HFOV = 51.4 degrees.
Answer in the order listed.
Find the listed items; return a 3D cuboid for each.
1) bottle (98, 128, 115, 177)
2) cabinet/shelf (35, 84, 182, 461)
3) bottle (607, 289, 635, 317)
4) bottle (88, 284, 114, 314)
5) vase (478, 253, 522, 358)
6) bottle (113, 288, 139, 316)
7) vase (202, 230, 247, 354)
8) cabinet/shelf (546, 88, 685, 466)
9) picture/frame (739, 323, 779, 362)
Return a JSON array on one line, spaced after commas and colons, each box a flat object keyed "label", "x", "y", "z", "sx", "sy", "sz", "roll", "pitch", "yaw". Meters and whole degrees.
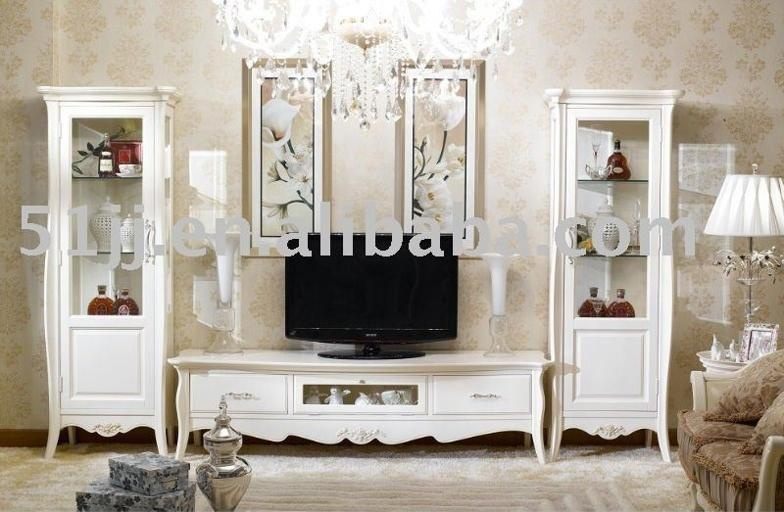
[{"label": "bottle", "x": -2.255, "y": -0.766, "z": 6.408, "sx": 0.137, "sy": 0.400, "sz": 0.133, "roll": -6, "pitch": -18, "yaw": -2}, {"label": "cabinet/shelf", "x": -2.180, "y": 0.118, "z": 6.299, "sx": 1.035, "sy": 2.764, "sz": 0.807, "roll": -1, "pitch": 14, "yaw": -4}, {"label": "bottle", "x": 1.774, "y": 0.357, "z": 6.291, "sx": 0.192, "sy": 0.235, "sz": 0.067, "roll": 2, "pitch": 8, "yaw": 22}, {"label": "bottle", "x": -2.280, "y": 0.341, "z": 6.325, "sx": 0.221, "sy": 0.306, "sz": 0.108, "roll": 1, "pitch": 1, "yaw": -1}, {"label": "vase", "x": 0.825, "y": 0.363, "z": 6.415, "sx": 0.273, "sy": 0.809, "sz": 0.390, "roll": 2, "pitch": 14, "yaw": 7}, {"label": "bottle", "x": -2.074, "y": 0.358, "z": 6.321, "sx": 0.202, "sy": 0.280, "sz": 0.097, "roll": 0, "pitch": 3, "yaw": -1}, {"label": "vase", "x": -1.337, "y": 0.283, "z": 6.441, "sx": 0.336, "sy": 0.925, "sz": 0.339, "roll": 1, "pitch": 1, "yaw": 42}, {"label": "cabinet/shelf", "x": 1.649, "y": 0.145, "z": 6.216, "sx": 1.012, "sy": 2.728, "sz": 0.740, "roll": 2, "pitch": 14, "yaw": 6}, {"label": "picture/frame", "x": 2.659, "y": 0.625, "z": 5.876, "sx": 0.263, "sy": 0.320, "sz": 0.045, "roll": 1, "pitch": -19, "yaw": 39}]
